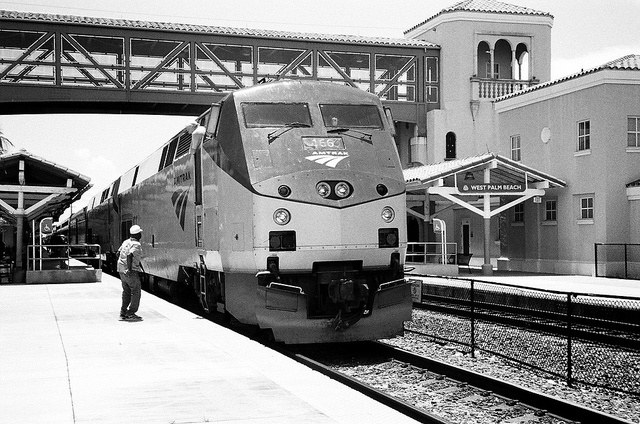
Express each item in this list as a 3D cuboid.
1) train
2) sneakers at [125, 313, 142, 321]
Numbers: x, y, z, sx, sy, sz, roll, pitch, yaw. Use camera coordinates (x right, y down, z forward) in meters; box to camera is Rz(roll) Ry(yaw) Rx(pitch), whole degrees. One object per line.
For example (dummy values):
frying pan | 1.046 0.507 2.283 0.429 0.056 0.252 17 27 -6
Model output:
train | -5.779 -0.423 24.203 4.899 6.392 25.397 1 3 -25
sneakers | -4.529 2.609 16.350 0.437 0.189 0.155 -1 0 0
